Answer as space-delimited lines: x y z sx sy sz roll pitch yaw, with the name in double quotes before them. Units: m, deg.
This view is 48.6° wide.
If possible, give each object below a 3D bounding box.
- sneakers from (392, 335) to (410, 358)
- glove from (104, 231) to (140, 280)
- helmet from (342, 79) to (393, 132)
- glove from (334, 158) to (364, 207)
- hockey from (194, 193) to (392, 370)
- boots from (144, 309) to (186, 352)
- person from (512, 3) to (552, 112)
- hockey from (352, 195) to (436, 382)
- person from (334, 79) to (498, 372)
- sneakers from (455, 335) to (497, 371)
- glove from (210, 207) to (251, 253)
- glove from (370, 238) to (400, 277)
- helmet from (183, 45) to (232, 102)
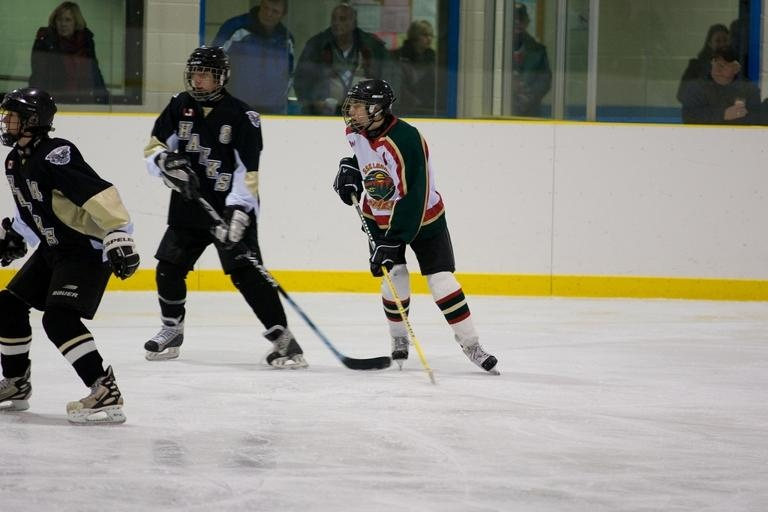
"sneakers" 0.090 0.501 4.589 0.056 0.141 0.063 -4 -17 7
"glove" -1.089 -0.011 3.547 0.171 0.204 0.087 4 10 23
"helmet" -0.070 -0.817 4.534 0.305 0.266 0.240 -5 10 -20
"glove" -0.206 -0.398 4.634 0.179 0.234 0.089 -2 -6 -39
"hockey" -0.571 0.160 5.429 1.526 0.219 0.124 39 35 4
"boots" -1.183 0.425 4.693 0.101 0.190 0.288 9 13 29
"person" 1.213 -1.630 6.994 0.308 0.925 0.109 2 9 8
"hockey" 0.065 0.199 4.879 0.067 1.224 0.092 -21 -14 -19
"person" 0.110 -0.164 4.469 0.878 1.516 0.462 8 12 40
"sneakers" 0.493 0.514 4.469 0.225 0.186 0.195 2 9 5
"glove" -0.778 -0.131 4.378 0.166 0.218 0.081 48 14 31
"glove" 0.006 0.008 4.433 0.192 0.167 0.148 -9 -3 -23
"helmet" -0.918 -0.966 4.469 0.223 0.285 0.177 -1 9 -12
